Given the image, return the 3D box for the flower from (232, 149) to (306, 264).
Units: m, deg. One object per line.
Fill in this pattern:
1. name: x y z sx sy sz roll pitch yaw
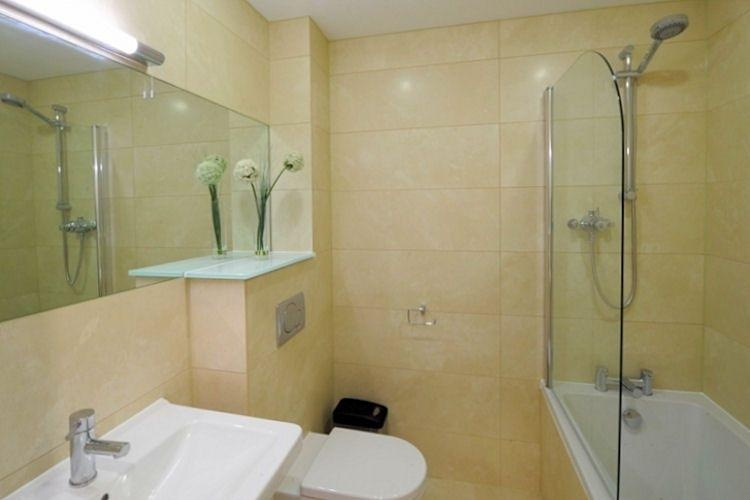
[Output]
1. flower: -0.660 -0.280 3.246 0.474 0.746 0.478 1 4 6

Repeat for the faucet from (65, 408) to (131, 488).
1. faucet: -1.123 0.810 2.306 0.225 0.297 0.180 8 13 0

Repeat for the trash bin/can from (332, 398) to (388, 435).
1. trash bin/can: -0.109 1.116 3.734 0.322 0.249 0.492 2 -4 -3
